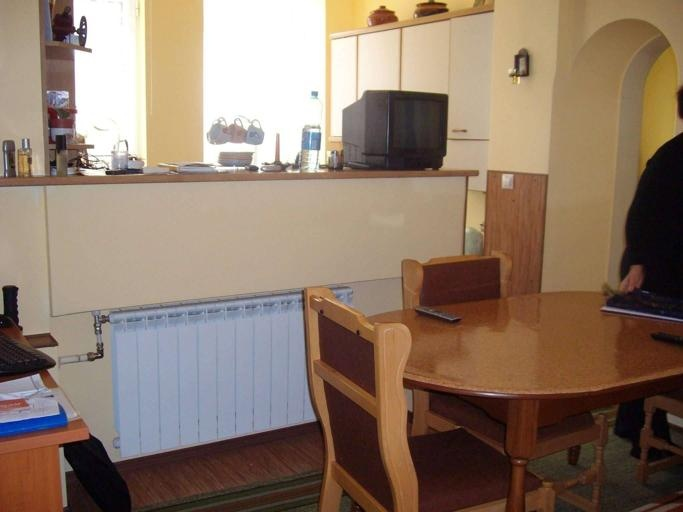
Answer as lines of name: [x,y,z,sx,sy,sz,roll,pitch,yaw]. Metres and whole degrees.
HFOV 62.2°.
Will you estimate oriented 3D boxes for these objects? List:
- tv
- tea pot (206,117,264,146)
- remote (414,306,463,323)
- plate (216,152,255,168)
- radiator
tv: [0.306,-0.715,3.325,0.488,0.409,0.513,-4,11,-23]
tea pot: [-0.634,-0.749,3.389,0.313,0.174,0.311,-3,10,1]
remote: [0.388,0.238,2.277,0.123,0.017,0.069,23,6,31]
plate: [-0.586,-0.541,3.177,0.200,0.085,0.139,-5,10,-10]
radiator: [-0.686,0.523,2.645,0.854,0.570,0.091,-8,19,-25]
